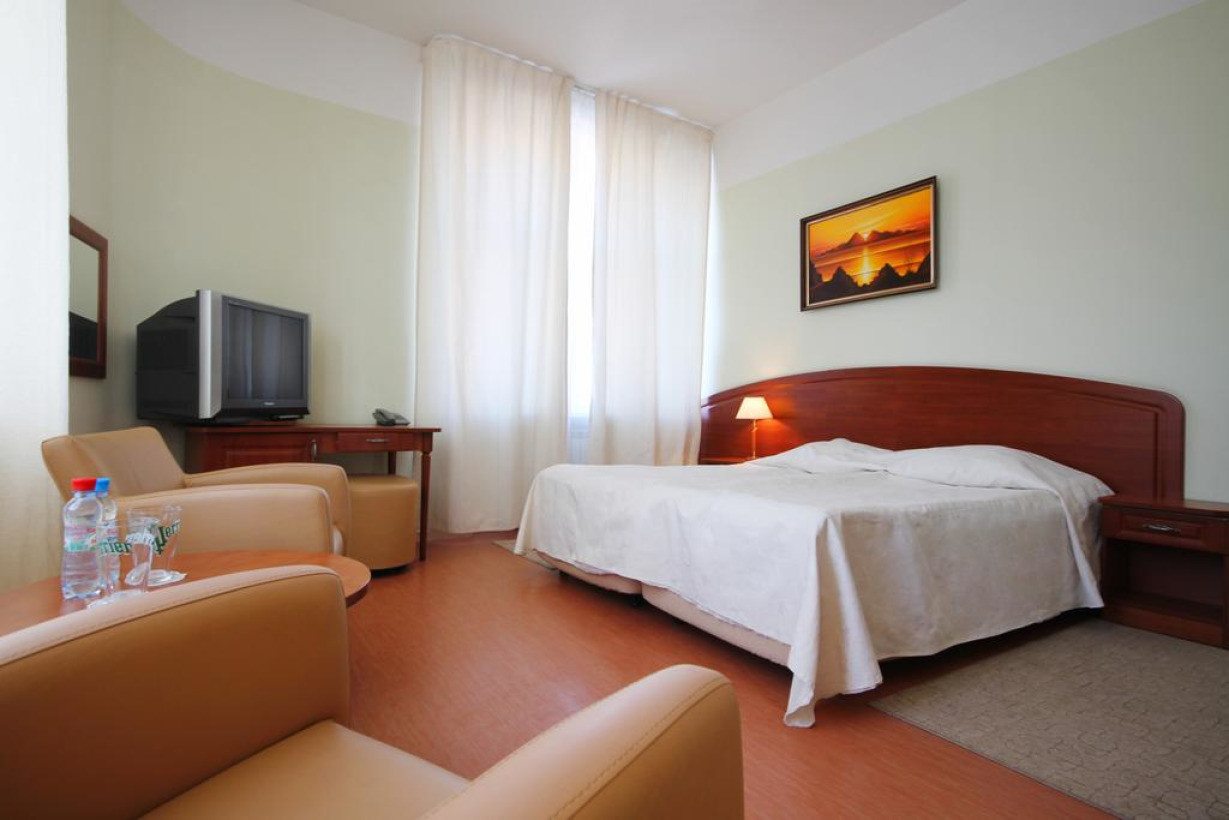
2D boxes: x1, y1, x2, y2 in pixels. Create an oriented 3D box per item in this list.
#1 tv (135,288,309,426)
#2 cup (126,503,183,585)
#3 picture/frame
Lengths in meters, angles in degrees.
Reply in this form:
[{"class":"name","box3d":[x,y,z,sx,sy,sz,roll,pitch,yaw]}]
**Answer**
[{"class":"tv","box3d":[-2.351,-0.260,4.851,0.675,0.995,1.203,-2,-3,14]},{"class":"cup","box3d":[-1.670,0.479,2.871,0.246,0.241,0.248,4,3,0]},{"class":"picture/frame","box3d":[1.846,-1.180,5.525,0.044,0.809,1.113,5,-6,-44]}]
